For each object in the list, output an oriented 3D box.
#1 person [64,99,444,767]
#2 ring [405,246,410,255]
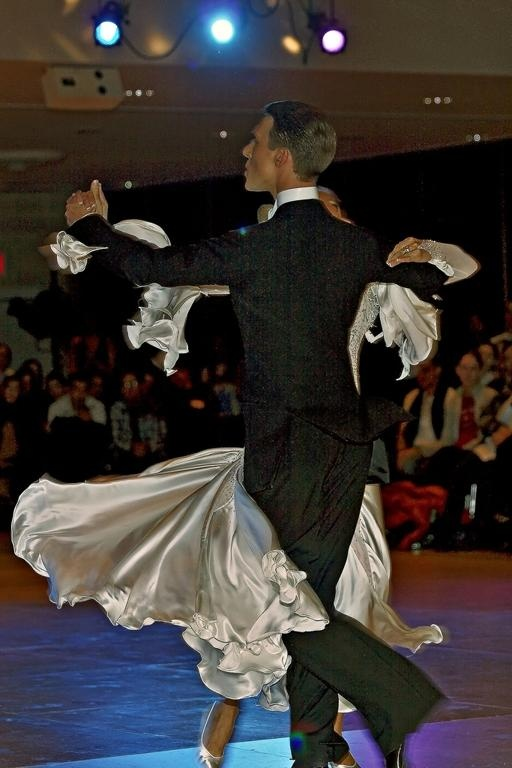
[{"bbox_3d":[0.026,0.121,1.767,0.720,1.374,0.225,0,-3,-7],"label":"person"},{"bbox_3d":[0.294,-0.258,1.712,0.010,0.010,0.004,7,-1,-4],"label":"ring"}]
